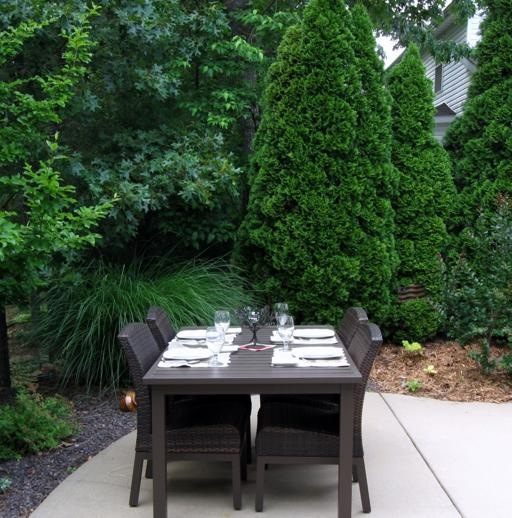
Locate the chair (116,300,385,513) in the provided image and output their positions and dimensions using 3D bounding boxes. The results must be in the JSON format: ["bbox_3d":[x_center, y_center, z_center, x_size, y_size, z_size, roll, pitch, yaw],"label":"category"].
[{"bbox_3d":[-0.043,0.732,2.875,1.337,0.703,1.179,0,2,3],"label":"chair"}]

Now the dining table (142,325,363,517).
[{"bbox_3d":[-0.010,0.660,2.527,0.864,0.515,1.133,0,3,3],"label":"dining table"}]
